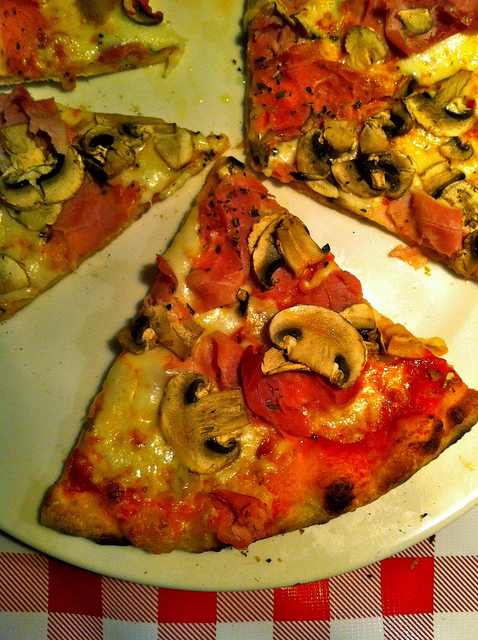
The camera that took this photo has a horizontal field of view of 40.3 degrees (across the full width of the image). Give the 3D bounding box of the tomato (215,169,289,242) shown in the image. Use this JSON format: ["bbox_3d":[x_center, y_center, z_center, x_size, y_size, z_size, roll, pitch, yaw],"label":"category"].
[{"bbox_3d":[0.020,-0.405,2.246,0.272,0.078,0.249,-28,78,-22],"label":"tomato"}]

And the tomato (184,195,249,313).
[{"bbox_3d":[-0.086,-0.226,2.142,0.272,0.078,0.355,-9,77,-6],"label":"tomato"}]

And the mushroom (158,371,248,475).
[{"bbox_3d":[-0.130,0.316,2.070,0.095,0.338,0.306,-13,48,43],"label":"mushroom"}]

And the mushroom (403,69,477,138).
[{"bbox_3d":[0.776,-0.804,2.521,0.262,0.086,0.256,32,90,1],"label":"mushroom"}]

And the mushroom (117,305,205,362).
[{"bbox_3d":[-0.253,0.046,2.073,0.221,0.062,0.190,-33,89,1],"label":"mushroom"}]

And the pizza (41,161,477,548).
[{"bbox_3d":[-0.021,0.245,2.139,1.204,0.651,1.130,-38,67,-25],"label":"pizza"}]

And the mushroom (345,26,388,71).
[{"bbox_3d":[0.458,-1.000,2.373,0.127,0.155,0.036,-6,33,1],"label":"mushroom"}]

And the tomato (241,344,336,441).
[{"bbox_3d":[0.193,0.201,2.180,0.305,0.139,0.341,0,45,2],"label":"tomato"}]

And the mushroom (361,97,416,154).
[{"bbox_3d":[0.536,-0.701,2.407,0.155,0.066,0.253,34,59,5],"label":"mushroom"}]

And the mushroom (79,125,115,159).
[{"bbox_3d":[-0.497,-0.628,2.267,0.117,0.039,0.130,10,56,3],"label":"mushroom"}]

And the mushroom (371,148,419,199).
[{"bbox_3d":[0.570,-0.527,2.310,0.172,0.046,0.163,-9,93,-5],"label":"mushroom"}]

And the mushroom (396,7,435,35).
[{"bbox_3d":[0.634,-1.085,2.368,0.137,0.087,0.083,-4,58,-6],"label":"mushroom"}]
